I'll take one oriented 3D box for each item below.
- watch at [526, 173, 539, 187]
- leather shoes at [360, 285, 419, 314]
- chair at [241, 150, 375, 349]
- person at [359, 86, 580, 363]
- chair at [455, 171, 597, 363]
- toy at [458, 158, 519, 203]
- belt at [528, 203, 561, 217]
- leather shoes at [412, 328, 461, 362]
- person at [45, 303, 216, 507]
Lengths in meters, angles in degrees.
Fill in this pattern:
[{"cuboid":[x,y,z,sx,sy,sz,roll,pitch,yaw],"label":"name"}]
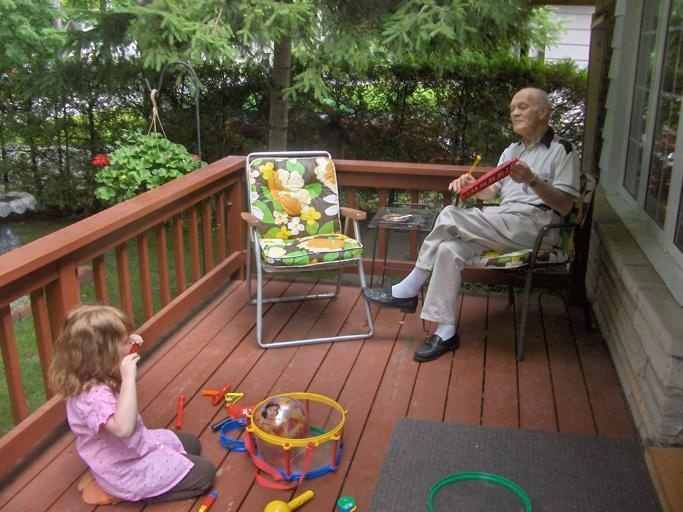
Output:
[{"cuboid":[1.030,-0.402,2.794,0.040,0.064,0.058,23,31,30],"label":"watch"},{"cuboid":[0.290,0.269,3.127,0.322,0.134,0.148,18,12,4],"label":"leather shoes"},{"cuboid":[-0.243,-0.096,3.365,0.722,1.067,0.910,-3,14,-11],"label":"chair"},{"cuboid":[0.833,-0.200,3.050,1.113,1.417,0.628,-14,24,-28],"label":"person"},{"cuboid":[1.201,0.070,3.145,0.575,0.719,0.553,-2,1,14],"label":"chair"},{"cuboid":[0.828,-0.430,2.907,0.293,0.297,0.346,7,23,22],"label":"toy"},{"cuboid":[1.203,-0.264,3.052,0.118,0.043,0.090,29,17,-27],"label":"belt"},{"cuboid":[0.547,0.530,3.057,0.307,0.120,0.114,-21,21,-26],"label":"leather shoes"},{"cuboid":[-0.817,0.569,2.061,0.591,0.751,0.597,-1,4,-18],"label":"person"}]
